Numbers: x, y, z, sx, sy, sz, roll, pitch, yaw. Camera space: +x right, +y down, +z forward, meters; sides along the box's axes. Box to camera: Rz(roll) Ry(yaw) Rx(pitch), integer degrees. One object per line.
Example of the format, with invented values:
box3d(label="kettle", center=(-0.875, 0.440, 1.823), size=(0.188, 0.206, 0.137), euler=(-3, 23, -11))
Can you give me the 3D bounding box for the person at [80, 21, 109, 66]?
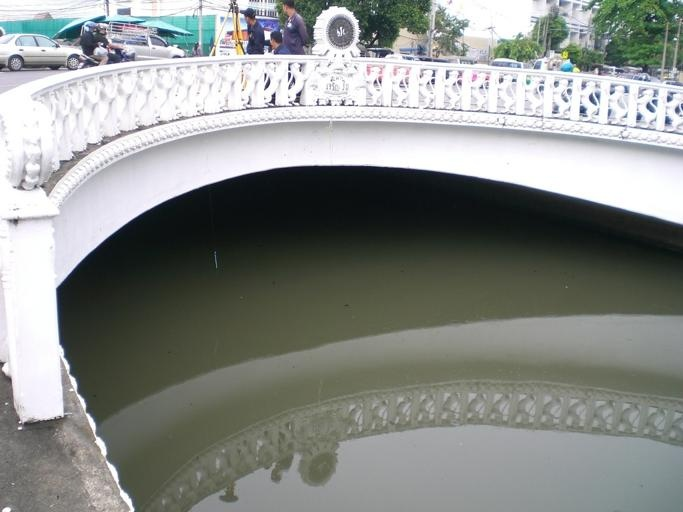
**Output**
box3d(label="person", center=(-4.458, -3.801, 13.995), size=(0.443, 0.641, 1.189), euler=(-5, 24, -17))
